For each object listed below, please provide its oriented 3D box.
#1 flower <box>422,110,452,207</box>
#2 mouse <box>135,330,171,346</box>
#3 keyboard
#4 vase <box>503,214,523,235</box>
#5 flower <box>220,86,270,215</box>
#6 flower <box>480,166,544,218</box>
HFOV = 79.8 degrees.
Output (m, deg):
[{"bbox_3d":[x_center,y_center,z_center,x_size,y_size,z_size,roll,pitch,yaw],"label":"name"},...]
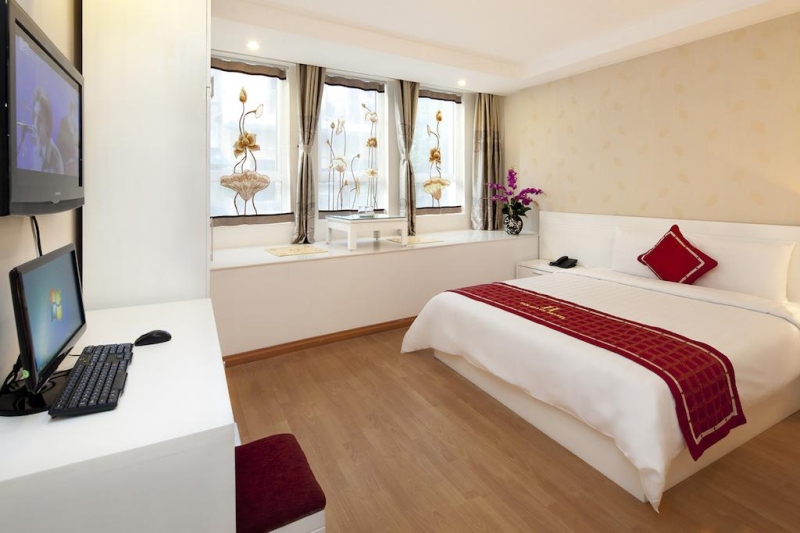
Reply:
[{"bbox_3d":[0.450,-1.392,5.862,0.291,1.060,0.385,1,12,8],"label":"flower"},{"bbox_3d":[-1.179,0.331,2.300,0.123,0.043,0.071,-6,11,-43],"label":"mouse"},{"bbox_3d":[-1.258,0.470,1.992,0.169,0.062,0.447,-3,22,-21],"label":"keyboard"},{"bbox_3d":[1.368,-0.511,5.872,0.221,0.284,0.226,1,-5,-19],"label":"vase"},{"bbox_3d":[-1.530,-1.131,4.707,0.436,1.240,0.266,-4,12,-17],"label":"flower"},{"bbox_3d":[1.394,-0.769,5.866,0.584,0.517,0.560,-3,-5,-39],"label":"flower"}]
